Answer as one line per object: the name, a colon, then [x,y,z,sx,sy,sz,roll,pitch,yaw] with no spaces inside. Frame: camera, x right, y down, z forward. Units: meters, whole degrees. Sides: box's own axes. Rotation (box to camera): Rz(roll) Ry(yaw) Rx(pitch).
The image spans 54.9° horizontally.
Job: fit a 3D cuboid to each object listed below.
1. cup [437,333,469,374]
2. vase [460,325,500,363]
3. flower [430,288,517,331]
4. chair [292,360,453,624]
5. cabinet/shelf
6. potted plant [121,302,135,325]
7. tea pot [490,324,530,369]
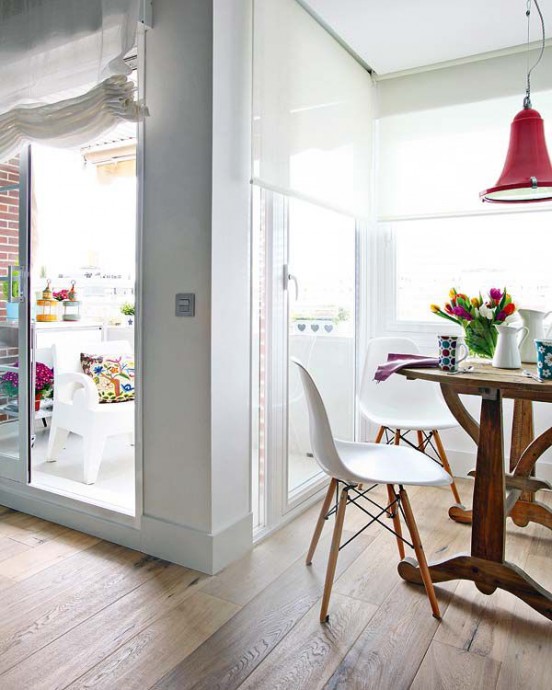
cup: [0.590,0.034,1.798,0.088,0.141,0.132,-2,5,-36]
vase: [0.749,-0.002,2.000,0.115,0.142,0.126,-5,-2,9]
flower: [0.751,-0.133,1.950,0.236,0.147,0.204,2,4,35]
chair: [0.304,0.419,2.008,0.669,1.098,0.649,-2,3,0]
cabinet/shelf: [-1.135,0.197,3.146,0.241,0.628,0.639,1,2,32]
potted plant: [-1.185,-0.259,4.309,0.083,0.181,0.199,-1,3,-22]
tea pot: [0.814,-0.001,1.791,0.150,0.172,0.110,0,0,-22]
